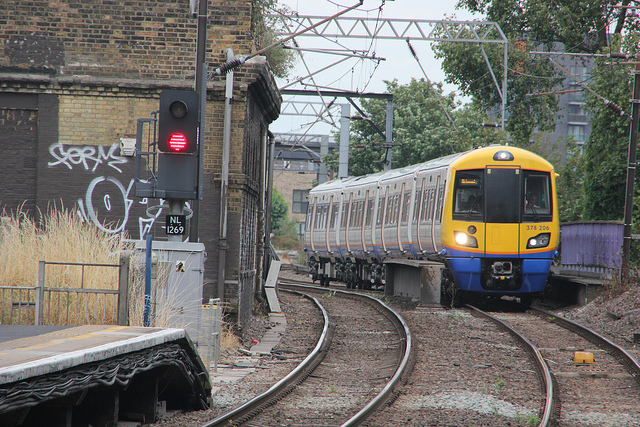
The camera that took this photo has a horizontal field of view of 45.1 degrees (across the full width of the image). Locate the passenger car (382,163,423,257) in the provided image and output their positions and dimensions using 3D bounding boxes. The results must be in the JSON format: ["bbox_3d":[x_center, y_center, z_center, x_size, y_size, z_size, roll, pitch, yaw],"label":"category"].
[{"bbox_3d":[3.284,-0.104,27.408,0.375,3.177,4.505,-3,1,36],"label":"passenger car"}]

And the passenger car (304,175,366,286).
[{"bbox_3d":[1.946,1.314,37.681,1.878,4.790,8.673,-1,-5,25],"label":"passenger car"}]

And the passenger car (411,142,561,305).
[{"bbox_3d":[4.358,0.361,21.334,2.121,4.474,3.815,-2,4,-41],"label":"passenger car"}]

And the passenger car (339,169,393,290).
[{"bbox_3d":[1.800,0.684,29.339,0.943,2.644,4.757,1,-2,-11],"label":"passenger car"}]

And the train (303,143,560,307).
[{"bbox_3d":[3.601,0.582,29.565,3.618,4.726,18.882,1,-1,-14],"label":"train"}]
